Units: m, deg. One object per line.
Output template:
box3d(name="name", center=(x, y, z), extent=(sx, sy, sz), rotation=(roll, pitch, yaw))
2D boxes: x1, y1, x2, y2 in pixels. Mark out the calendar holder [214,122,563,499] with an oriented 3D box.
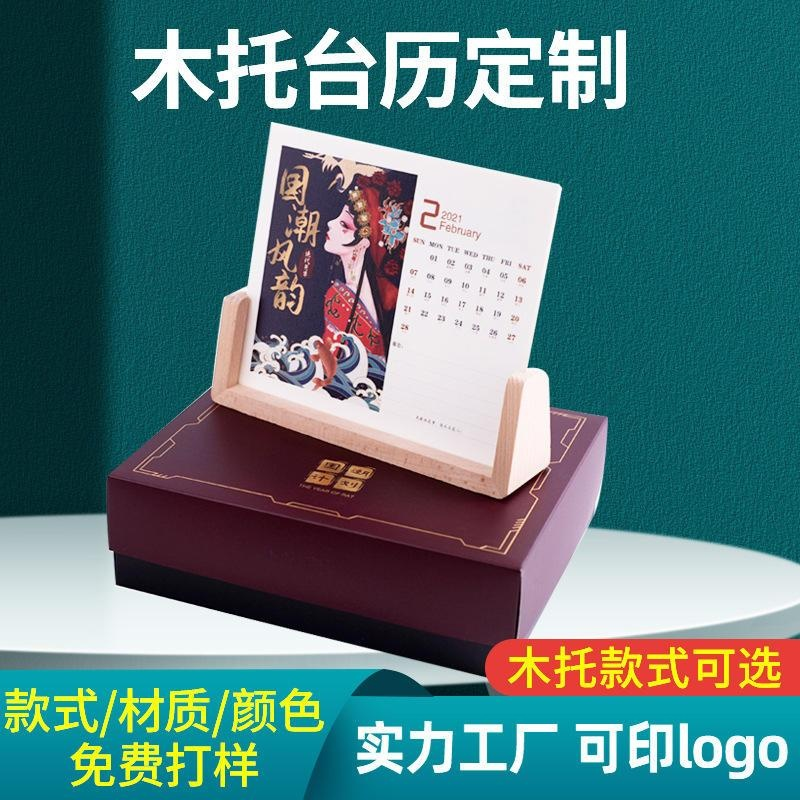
box3d(name="calendar holder", center=(-0.006, -0.071, 0.667), extent=(0.385, 0.275, 0.119), rotation=(17, 26, 25))
